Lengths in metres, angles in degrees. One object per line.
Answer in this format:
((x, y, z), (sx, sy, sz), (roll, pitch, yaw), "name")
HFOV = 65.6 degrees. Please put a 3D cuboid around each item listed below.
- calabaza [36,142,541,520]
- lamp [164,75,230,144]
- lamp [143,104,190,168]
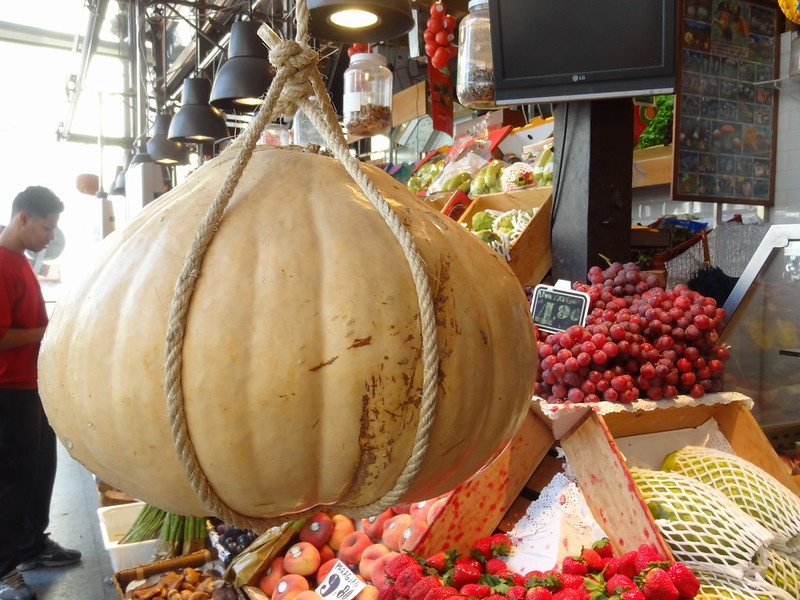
((-0.215, -0.019, 0.917), (0.552, 0.456, 0.526), (6, -15, -39), "calabaza")
((-1.800, -1.572, 5.512), (0.510, 0.591, 0.539), (-2, -3, 27), "lamp")
((-2.468, -1.717, 6.678), (0.485, 0.598, 0.526), (-3, -6, 9), "lamp")
